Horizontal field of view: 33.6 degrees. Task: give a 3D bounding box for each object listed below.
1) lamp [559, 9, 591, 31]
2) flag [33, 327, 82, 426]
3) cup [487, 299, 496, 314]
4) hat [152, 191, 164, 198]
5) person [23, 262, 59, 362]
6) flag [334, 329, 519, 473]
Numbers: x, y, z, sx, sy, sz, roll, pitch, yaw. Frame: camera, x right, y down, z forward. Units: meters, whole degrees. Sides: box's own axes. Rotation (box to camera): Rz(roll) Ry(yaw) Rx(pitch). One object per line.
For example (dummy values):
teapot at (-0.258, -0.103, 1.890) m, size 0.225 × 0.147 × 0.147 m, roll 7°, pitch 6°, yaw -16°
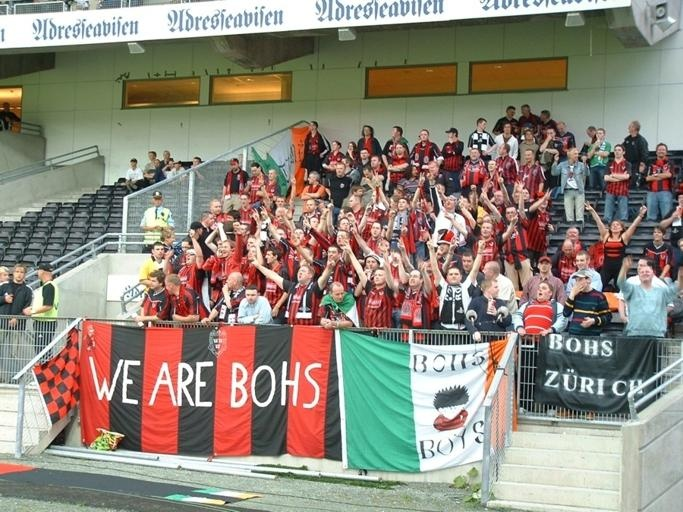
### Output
lamp at (5.416, -5.551, 25.991) m, size 0.655 × 0.477 × 0.586 m, roll 0°, pitch -12°, yaw -4°
flag at (-5.264, 2.219, 20.885) m, size 0.202 × 1.557 × 1.277 m, roll -2°, pitch 23°, yaw 23°
cup at (2.617, 0.882, 19.597) m, size 0.138 × 0.246 × 0.184 m, roll 1°, pitch 6°, yaw 6°
hat at (-4.207, -1.407, 25.991) m, size 0.250 × 0.129 × 0.253 m, roll -1°, pitch 6°, yaw -7°
person at (-5.750, 1.144, 21.734) m, size 0.507 × 0.633 × 1.645 m, roll 10°, pitch 39°, yaw -20°
flag at (1.577, 2.545, 19.302) m, size 2.243 × 1.907 × 0.193 m, roll 2°, pitch -9°, yaw 12°
